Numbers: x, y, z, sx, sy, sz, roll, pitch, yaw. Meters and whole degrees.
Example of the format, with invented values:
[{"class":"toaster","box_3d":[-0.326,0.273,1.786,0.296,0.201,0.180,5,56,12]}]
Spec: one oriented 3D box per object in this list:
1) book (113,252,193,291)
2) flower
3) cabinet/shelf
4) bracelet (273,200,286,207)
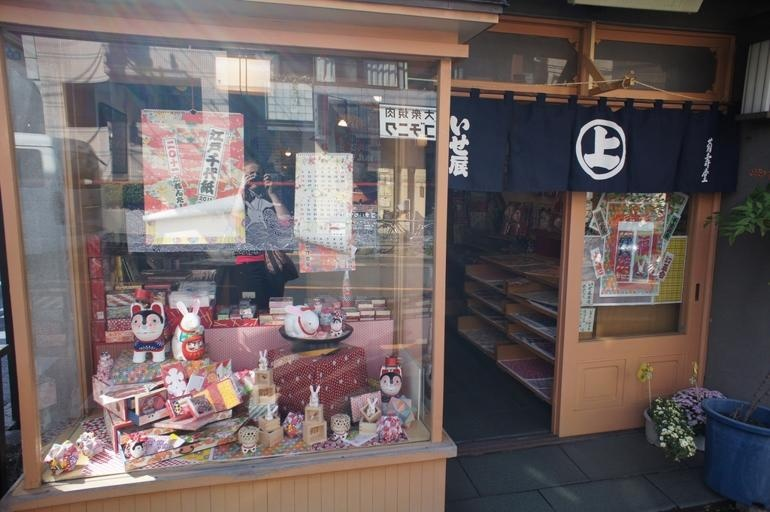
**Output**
[{"class":"book","box_3d":[-1.691,0.101,4.349,0.520,0.271,0.028,-3,11,-3]},{"class":"flower","box_3d":[2.621,1.418,5.507,0.709,0.584,0.832,-3,9,-11]},{"class":"cabinet/shelf","box_3d":[1.466,0.749,7.038,0.864,0.980,2.407,-3,11,-3]},{"class":"bracelet","box_3d":[-0.772,-0.387,4.389,0.027,0.038,0.127,-6,6,-33]}]
